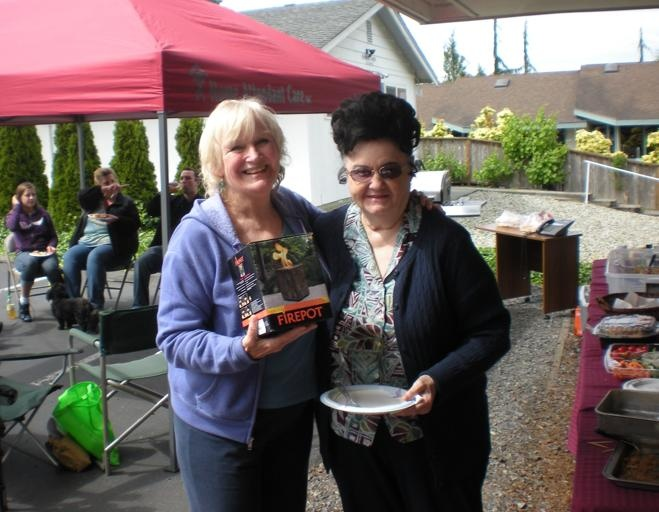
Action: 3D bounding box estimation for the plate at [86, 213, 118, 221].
[{"bbox_3d":[-2.696,-0.467,7.126,0.199,0.047,0.185,4,-3,-33],"label":"plate"}]

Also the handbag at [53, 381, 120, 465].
[{"bbox_3d":[-1.689,1.199,4.220,0.383,0.606,0.240,-53,12,-33],"label":"handbag"}]

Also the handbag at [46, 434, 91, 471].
[{"bbox_3d":[-1.806,1.323,4.096,0.204,0.081,0.285,18,2,-45],"label":"handbag"}]

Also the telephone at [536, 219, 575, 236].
[{"bbox_3d":[2.593,-0.323,6.782,0.410,0.176,0.225,-7,5,-33],"label":"telephone"}]

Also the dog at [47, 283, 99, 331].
[{"bbox_3d":[-3.026,0.495,6.950,0.201,0.690,0.423,-30,-32,29],"label":"dog"}]

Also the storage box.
[{"bbox_3d":[-0.187,0.115,2.184,0.302,0.283,0.211,-10,-8,-39],"label":"storage box"}]
